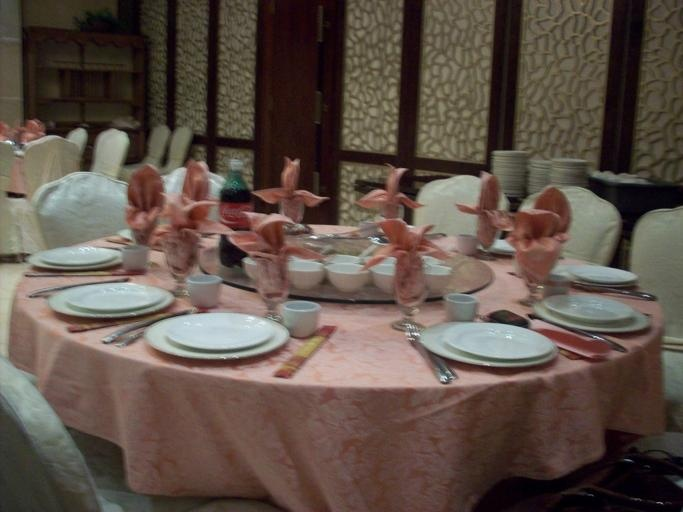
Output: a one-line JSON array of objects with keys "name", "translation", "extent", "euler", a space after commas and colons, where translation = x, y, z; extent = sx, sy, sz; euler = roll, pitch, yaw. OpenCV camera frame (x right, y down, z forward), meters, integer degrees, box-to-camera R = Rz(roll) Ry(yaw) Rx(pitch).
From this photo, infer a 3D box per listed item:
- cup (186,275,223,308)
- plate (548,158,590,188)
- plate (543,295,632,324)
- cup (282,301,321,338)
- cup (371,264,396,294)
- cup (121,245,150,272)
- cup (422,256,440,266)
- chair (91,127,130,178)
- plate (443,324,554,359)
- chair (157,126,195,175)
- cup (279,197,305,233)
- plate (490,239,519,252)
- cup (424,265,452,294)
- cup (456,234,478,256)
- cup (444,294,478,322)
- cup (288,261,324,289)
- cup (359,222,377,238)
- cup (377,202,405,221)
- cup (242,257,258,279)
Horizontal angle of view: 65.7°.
[{"name": "cup", "translation": [-0.341, 0.088, 1.322], "extent": [0.085, 0.067, 0.071], "euler": [-4, 10, -43]}, {"name": "plate", "translation": [1.345, -0.513, 3.115], "extent": [0.178, 0.139, 0.184], "euler": [3, 14, 10]}, {"name": "plate", "translation": [0.633, 0.131, 1.363], "extent": [0.110, 0.017, 0.112], "euler": [13, 25, 31]}, {"name": "cup", "translation": [-0.099, 0.148, 1.219], "extent": [0.093, 0.077, 0.085], "euler": [3, 9, -1]}, {"name": "cup", "translation": [0.115, 0.063, 1.492], "extent": [0.070, 0.051, 0.073], "euler": [2, 6, 0]}, {"name": "cup", "translation": [-0.630, 0.006, 1.626], "extent": [0.084, 0.071, 0.065], "euler": [1, 5, -38]}, {"name": "cup", "translation": [0.277, 0.009, 1.636], "extent": [0.039, 0.046, 0.111], "euler": [1, 6, 2]}, {"name": "chair", "translation": [-2.426, -1.087, 5.544], "extent": [0.333, 0.490, 0.785], "euler": [-5, 14, -28]}, {"name": "plate", "translation": [0.338, 0.184, 1.135], "extent": [0.106, 0.013, 0.113], "euler": [10, 21, 27]}, {"name": "chair", "translation": [-1.996, -1.303, 6.449], "extent": [0.383, 0.542, 0.551], "euler": [-3, 13, -19]}, {"name": "cup", "translation": [-0.184, -0.168, 2.097], "extent": [0.114, 0.184, 0.109], "euler": [1, 5, 0]}, {"name": "plate", "translation": [0.552, -0.036, 1.798], "extent": [0.062, 0.020, 0.064], "euler": [6, 13, 18]}, {"name": "cup", "translation": [0.270, 0.054, 1.490], "extent": [0.080, 0.065, 0.092], "euler": [0, 6, -1]}, {"name": "cup", "translation": [0.462, -0.042, 1.955], "extent": [0.068, 0.058, 0.072], "euler": [1, 4, 0]}, {"name": "cup", "translation": [0.289, 0.123, 1.278], "extent": [0.073, 0.057, 0.057], "euler": [6, 10, 33]}, {"name": "cup", "translation": [-0.096, 0.051, 1.496], "extent": [0.082, 0.053, 0.085], "euler": [1, 0, 0]}, {"name": "cup", "translation": [0.104, -0.105, 2.059], "extent": [0.055, 0.043, 0.057], "euler": [2, 6, 0]}, {"name": "cup", "translation": [0.194, -0.171, 2.051], "extent": [0.071, 0.073, 0.072], "euler": [0, 4, 0]}, {"name": "cup", "translation": [-0.258, 0.028, 1.543], "extent": [0.061, 0.051, 0.058], "euler": [3, 11, -1]}]
